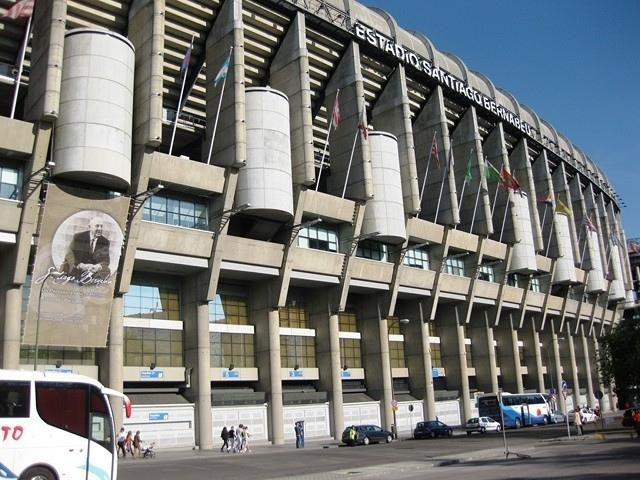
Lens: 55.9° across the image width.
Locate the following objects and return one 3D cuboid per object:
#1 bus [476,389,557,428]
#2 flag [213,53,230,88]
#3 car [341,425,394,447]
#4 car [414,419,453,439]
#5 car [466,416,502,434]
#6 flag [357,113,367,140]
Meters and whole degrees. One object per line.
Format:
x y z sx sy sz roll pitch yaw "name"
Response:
21.024 17.980 63.327 9.565 3.819 3.232 8 -19 -35 "bus"
-7.012 -12.501 43.763 1.100 2.784 1.801 4 -20 -13 "flag"
3.702 15.400 47.124 3.967 1.578 1.129 12 -23 -31 "car"
9.575 16.492 52.014 2.634 1.303 1.552 -1 -7 -29 "car"
15.038 17.229 55.568 3.364 1.579 1.931 5 -21 -14 "car"
3.608 -10.114 51.267 0.736 2.755 1.164 -1 -19 3 "flag"
